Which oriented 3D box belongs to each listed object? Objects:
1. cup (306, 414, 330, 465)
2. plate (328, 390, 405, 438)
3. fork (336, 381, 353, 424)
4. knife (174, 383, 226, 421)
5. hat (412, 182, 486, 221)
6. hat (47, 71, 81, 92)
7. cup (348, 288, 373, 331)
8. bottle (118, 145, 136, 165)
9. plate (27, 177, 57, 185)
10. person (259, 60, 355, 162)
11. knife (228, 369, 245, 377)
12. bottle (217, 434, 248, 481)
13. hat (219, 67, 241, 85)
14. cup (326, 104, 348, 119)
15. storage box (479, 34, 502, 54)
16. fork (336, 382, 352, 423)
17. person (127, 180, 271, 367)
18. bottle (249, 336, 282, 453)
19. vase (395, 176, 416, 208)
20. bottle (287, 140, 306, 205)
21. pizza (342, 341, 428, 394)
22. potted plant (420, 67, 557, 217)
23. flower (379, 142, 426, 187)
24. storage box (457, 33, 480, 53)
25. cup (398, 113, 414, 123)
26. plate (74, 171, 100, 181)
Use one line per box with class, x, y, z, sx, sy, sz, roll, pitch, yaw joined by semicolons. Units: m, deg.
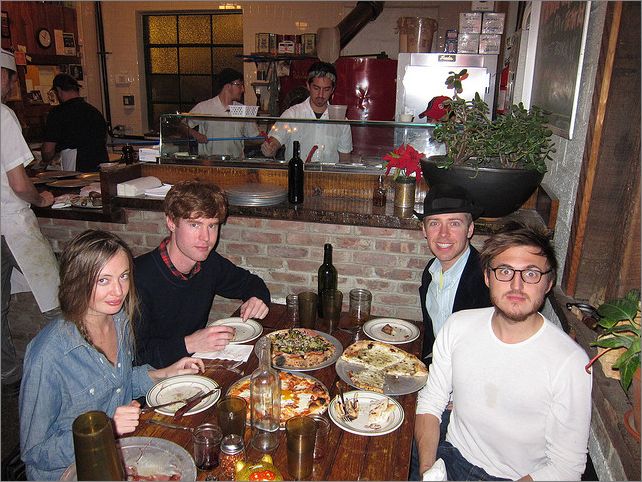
cup;-0.009;0.664;1.596;0.117;0.114;0.104;2;8;-4
plate;0.160;0.613;1.679;0.151;0.021;0.152;4;19;14
fork;0.077;0.578;1.708;0.025;0.022;0.181;-9;33;-12
knife;-0.413;0.580;1.749;0.048;0.041;0.293;41;30;19
hat;0.615;-0.184;2.211;0.264;0.125;0.315;2;0;27
hat;-2.433;-1.494;4.487;0.269;0.203;0.193;-13;38;-20
cup;0.179;0.337;2.306;0.159;0.238;0.150;0;4;0
bottle;-1.370;-0.616;3.329;0.086;0.129;0.376;-6;18;-24
plate;-2.122;-0.455;3.562;0.145;0.016;0.127;5;12;5
person;-0.067;-0.990;3.472;0.684;0.690;1.296;3;16;7
knife;-0.335;0.515;1.875;0.018;0.018;0.068;-38;17;-28
bottle;-0.274;0.670;1.463;0.087;0.125;0.122;-3;17;-15
hat;-0.852;-1.531;4.408;0.173;0.140;0.161;7;15;-7
cup;0.093;-0.831;3.013;0.106;0.076;0.107;1;19;0
storage box;1.642;-1.909;4.567;0.206;0.192;0.110;0;4;16
fork;0.078;0.575;1.702;0.024;0.021;0.174;-8;28;-11
person;-0.591;0.154;2.347;0.461;0.729;0.639;17;30;22
bottle;-0.187;0.490;1.561;0.100;0.365;0.172;0;16;-4
vase;0.477;-0.303;2.885;0.166;0.183;0.167;2;19;4
bottle;-0.156;-0.429;2.929;0.098;0.368;0.241;0;16;-3
pizza;0.247;0.515;1.927;0.200;0.024;0.211;12;19;25
potted plant;0.850;-0.486;2.411;0.640;0.776;0.573;9;18;25
flower;0.475;-0.439;2.720;0.225;0.164;0.219;6;10;10
storage box;1.451;-1.941;4.638;0.191;0.180;0.189;6;35;9
cup;0.538;-0.778;2.946;0.093;0.059;0.094;0;2;0
plate;-1.907;-0.526;3.849;0.190;0.020;0.190;-4;21;-23
